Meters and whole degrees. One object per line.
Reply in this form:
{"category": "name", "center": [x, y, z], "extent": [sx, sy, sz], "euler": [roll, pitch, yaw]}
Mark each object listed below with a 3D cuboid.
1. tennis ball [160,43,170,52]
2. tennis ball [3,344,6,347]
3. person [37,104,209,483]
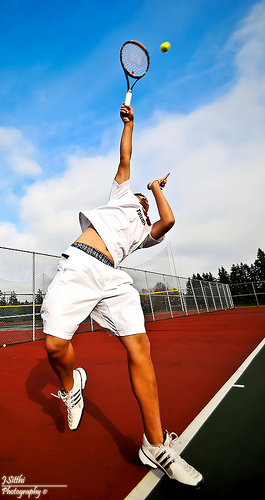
{"category": "tennis ball", "center": [0.338, -2.145, 3.372], "extent": [0.052, 0.073, 0.105], "euler": [-2, -6, -30]}
{"category": "tennis ball", "center": [-2.470, 1.870, 6.117], "extent": [0.051, 0.041, 0.110], "euler": [-2, -6, -27]}
{"category": "person", "center": [-0.078, 0.032, 2.035], "extent": [0.925, 2.316, 0.743], "euler": [-6, -5, 18]}
